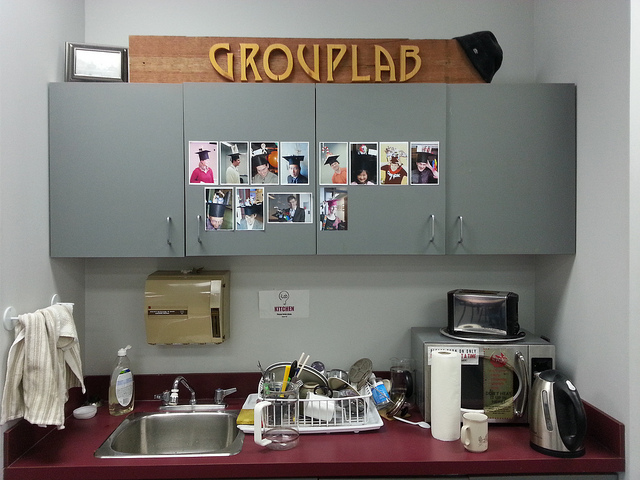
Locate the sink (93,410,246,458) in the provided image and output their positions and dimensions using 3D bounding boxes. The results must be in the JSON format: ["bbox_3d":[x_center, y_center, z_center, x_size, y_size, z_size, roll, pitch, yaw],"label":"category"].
[{"bbox_3d":[-0.708,0.963,2.785,0.661,0.195,0.381,-2,4,-14],"label":"sink"}]

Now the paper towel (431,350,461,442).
[{"bbox_3d":[0.579,0.722,2.684,0.126,0.390,0.066,-1,4,8],"label":"paper towel"}]

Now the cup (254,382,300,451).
[{"bbox_3d":[-0.219,0.835,2.701,0.152,0.262,0.254,-7,-8,28],"label":"cup"}]

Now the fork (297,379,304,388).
[{"bbox_3d":[-0.096,0.688,2.806,0.041,0.013,0.042,4,5,35],"label":"fork"}]

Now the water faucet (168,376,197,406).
[{"bbox_3d":[-0.706,0.772,3.014,0.142,0.138,0.122,-2,4,-7],"label":"water faucet"}]

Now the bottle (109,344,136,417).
[{"bbox_3d":[-0.990,0.704,2.932,0.136,0.330,0.095,-4,4,-35],"label":"bottle"}]

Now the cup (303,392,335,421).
[{"bbox_3d":[-0.004,0.782,2.734,0.125,0.153,0.088,15,-36,0],"label":"cup"}]

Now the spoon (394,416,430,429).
[{"bbox_3d":[0.437,0.873,2.797,0.154,0.021,0.029,6,33,31],"label":"spoon"}]

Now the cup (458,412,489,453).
[{"bbox_3d":[0.668,0.865,2.596,0.150,0.146,0.095,-2,-1,-39],"label":"cup"}]

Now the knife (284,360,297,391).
[{"bbox_3d":[-0.135,0.638,2.792,0.025,0.169,0.023,12,-33,9],"label":"knife"}]

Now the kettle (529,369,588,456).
[{"bbox_3d":[1.066,0.773,2.598,0.192,0.345,0.294,-2,-1,-20],"label":"kettle"}]

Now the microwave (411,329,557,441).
[{"bbox_3d":[0.757,0.651,2.602,0.438,0.317,0.494,0,-1,-1],"label":"microwave"}]
